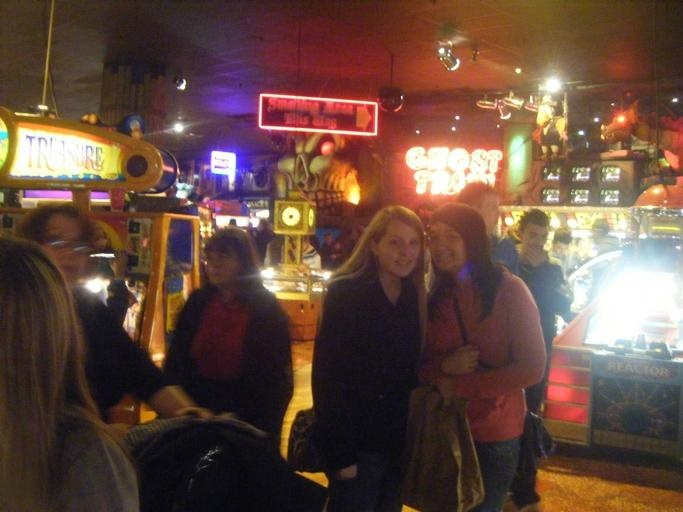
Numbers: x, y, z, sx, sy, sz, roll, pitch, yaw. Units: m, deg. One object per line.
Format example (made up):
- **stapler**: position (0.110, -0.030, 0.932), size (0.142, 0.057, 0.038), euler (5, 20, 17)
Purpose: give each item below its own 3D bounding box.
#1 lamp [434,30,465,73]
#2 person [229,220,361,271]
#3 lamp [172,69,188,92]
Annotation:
- **lamp**: position (1.431, -2.866, 8.569), size (0.130, 0.510, 0.323), euler (3, 16, 37)
- **person**: position (-0.571, -0.160, 8.840), size (0.896, 0.652, 0.515), euler (1, -4, 20)
- **lamp**: position (-2.670, -2.949, 10.188), size (0.157, 0.187, 0.204), euler (-20, 43, -9)
